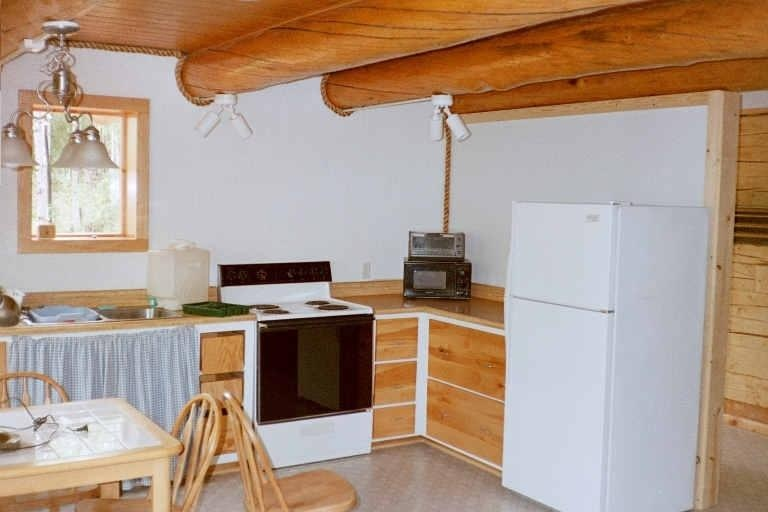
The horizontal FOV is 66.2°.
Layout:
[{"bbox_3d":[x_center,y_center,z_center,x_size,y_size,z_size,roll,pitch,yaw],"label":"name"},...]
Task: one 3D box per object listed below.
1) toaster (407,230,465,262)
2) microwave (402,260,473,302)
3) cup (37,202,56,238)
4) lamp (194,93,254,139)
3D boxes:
[{"bbox_3d":[0.485,-0.097,5.506,0.530,0.272,0.127,-2,7,-4],"label":"toaster"},{"bbox_3d":[0.486,0.222,5.580,0.667,0.326,0.365,0,-1,-3],"label":"microwave"},{"bbox_3d":[-2.587,-0.280,4.494,0.121,0.281,0.070,-5,8,-28],"label":"cup"},{"bbox_3d":[-1.261,-1.105,4.638,0.428,0.397,0.156,2,17,-18],"label":"lamp"}]
